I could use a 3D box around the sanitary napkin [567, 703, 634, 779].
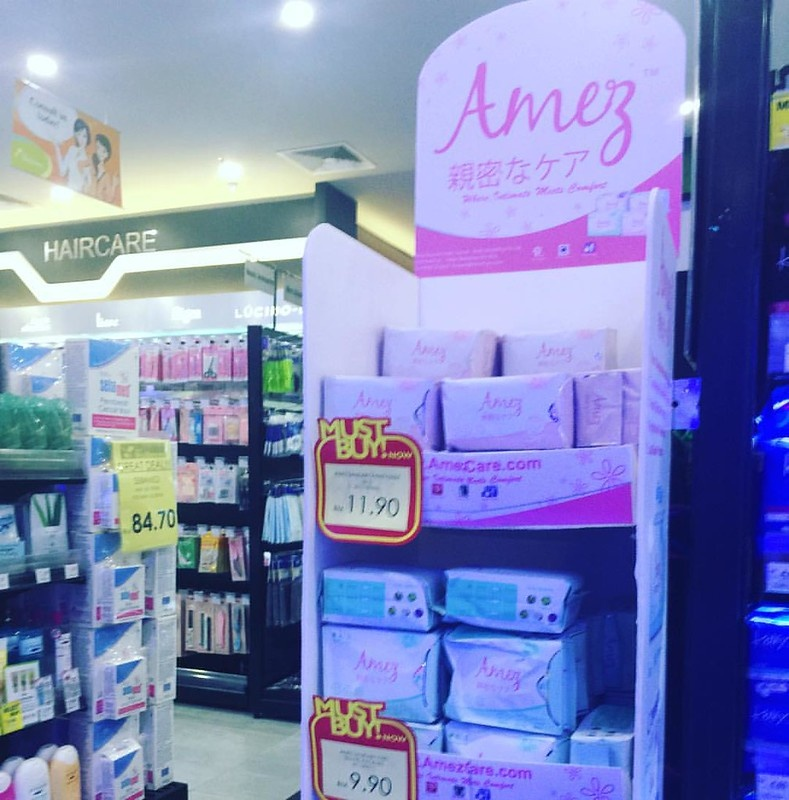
[{"bbox_3d":[0.437,0.734,1.985,0.095,0.054,0.204,-1,-2,17],"label":"sanitary napkin"}]

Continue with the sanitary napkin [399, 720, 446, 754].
[{"bbox_3d":[0.078,0.759,2.095,0.063,0.080,0.071,-1,-6,17],"label":"sanitary napkin"}]

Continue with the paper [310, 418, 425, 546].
[{"bbox_3d":[-0.056,0.183,2.146,0.230,0.333,0.016,0,-2,15],"label":"paper"}]

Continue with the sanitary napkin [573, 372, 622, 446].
[{"bbox_3d":[0.433,0.020,2.115,0.082,0.177,0.110,1,3,-24],"label":"sanitary napkin"}]

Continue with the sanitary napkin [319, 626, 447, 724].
[{"bbox_3d":[-0.039,0.607,2.232,0.250,0.204,0.161,5,13,8],"label":"sanitary napkin"}]

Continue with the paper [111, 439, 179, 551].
[{"bbox_3d":[-0.922,0.363,3.657,0.393,0.467,0.148,-6,5,37],"label":"paper"}]

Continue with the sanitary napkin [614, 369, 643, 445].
[{"bbox_3d":[0.510,0.022,2.035,0.069,0.155,0.140,0,-2,23],"label":"sanitary napkin"}]
